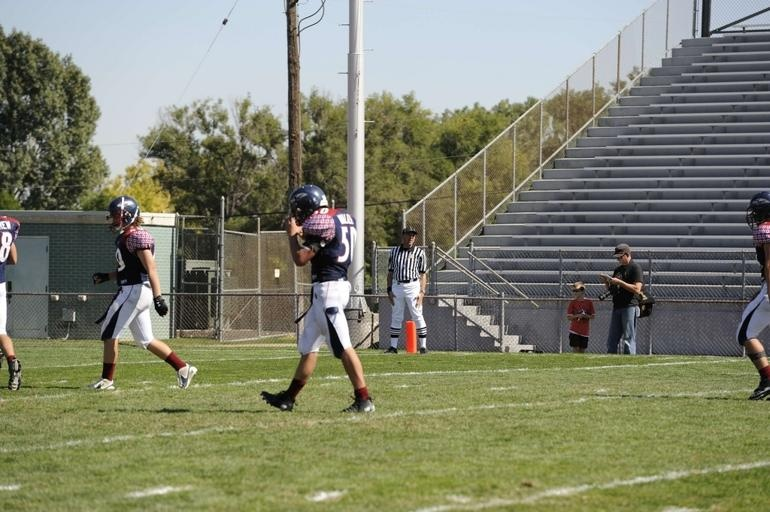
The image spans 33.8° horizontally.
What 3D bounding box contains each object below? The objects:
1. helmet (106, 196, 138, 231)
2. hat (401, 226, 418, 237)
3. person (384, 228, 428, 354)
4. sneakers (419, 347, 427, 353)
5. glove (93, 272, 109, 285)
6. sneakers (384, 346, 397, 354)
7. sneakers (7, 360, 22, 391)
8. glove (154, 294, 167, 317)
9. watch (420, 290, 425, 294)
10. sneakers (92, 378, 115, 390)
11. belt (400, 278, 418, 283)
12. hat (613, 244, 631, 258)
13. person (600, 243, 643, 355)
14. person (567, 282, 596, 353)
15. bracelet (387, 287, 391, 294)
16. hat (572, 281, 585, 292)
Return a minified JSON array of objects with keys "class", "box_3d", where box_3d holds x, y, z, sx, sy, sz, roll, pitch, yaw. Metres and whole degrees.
[{"class":"helmet","box_3d":[-4.710,-0.781,22.877,0.637,0.563,0.488,0,0,-11]},{"class":"hat","box_3d":[0.537,-0.571,28.346,0.287,0.242,0.608,0,14,-2]},{"class":"person","box_3d":[0.499,0.781,28.547,0.880,2.945,0.746,0,15,-1]},{"class":"sneakers","box_3d":[0.867,2.150,28.857,0.122,0.116,0.127,0,0,-32]},{"class":"glove","box_3d":[-5.194,0.443,23.338,0.316,0.235,0.141,-5,-41,1]},{"class":"sneakers","box_3d":[0.142,2.137,28.704,0.261,0.152,0.150,5,-7,-16]},{"class":"sneakers","box_3d":[-6.803,2.188,23.302,0.221,0.595,0.280,-3,-1,-19]},{"class":"glove","box_3d":[-3.999,0.901,22.620,0.200,0.429,0.391,-4,15,-16]},{"class":"watch","box_3d":[0.859,0.814,28.393,0.030,0.095,0.100,23,-8,-39]},{"class":"sneakers","box_3d":[-5.115,2.356,23.113,0.403,0.157,0.171,2,0,-3]},{"class":"belt","box_3d":[0.533,0.576,28.459,0.378,0.102,0.062,-2,15,-10]},{"class":"hat","box_3d":[5.208,-0.090,27.817,0.322,0.334,0.465,2,14,7]},{"class":"person","box_3d":[5.280,0.998,28.083,0.846,2.574,0.999,3,15,9]},{"class":"person","box_3d":[4.505,1.391,29.262,0.580,1.655,1.123,2,15,8]},{"class":"bracelet","box_3d":[0.074,0.800,28.656,0.136,0.120,0.131,2,-7,5]},{"class":"hat","box_3d":[4.415,0.710,28.954,0.216,0.236,0.274,0,-8,8]}]
